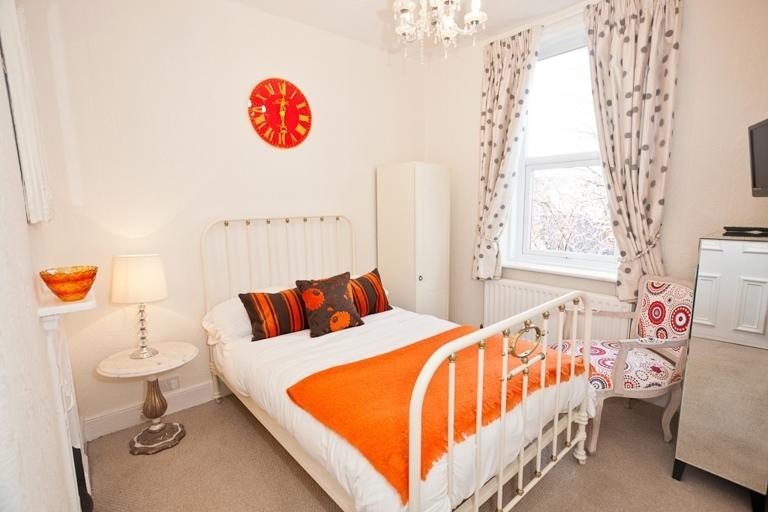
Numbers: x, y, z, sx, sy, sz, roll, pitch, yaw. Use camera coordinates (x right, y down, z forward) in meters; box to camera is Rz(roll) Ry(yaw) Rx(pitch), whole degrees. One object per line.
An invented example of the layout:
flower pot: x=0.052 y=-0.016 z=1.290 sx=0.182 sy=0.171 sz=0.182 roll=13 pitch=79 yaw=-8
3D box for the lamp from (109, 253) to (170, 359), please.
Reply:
lamp: x=-1.767 y=0.355 z=3.578 sx=0.317 sy=0.732 sz=0.401 roll=-12 pitch=13 yaw=-41

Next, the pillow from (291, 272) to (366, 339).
pillow: x=-0.422 y=0.384 z=3.833 sx=0.453 sy=0.449 sz=0.138 roll=-8 pitch=-20 yaw=-39

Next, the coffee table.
coffee table: x=-1.691 y=1.071 z=3.634 sx=0.549 sy=0.622 sz=0.548 roll=-1 pitch=7 yaw=25

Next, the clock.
clock: x=-0.861 y=-1.196 z=4.198 sx=0.538 sy=0.558 sz=0.029 roll=-12 pitch=12 yaw=22

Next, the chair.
chair: x=1.763 y=0.776 z=3.752 sx=0.895 sy=1.215 sz=0.863 roll=-4 pitch=11 yaw=-19

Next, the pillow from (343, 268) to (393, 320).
pillow: x=-0.132 y=0.327 z=4.173 sx=0.105 sy=0.333 sz=0.345 roll=-32 pitch=-15 yaw=39

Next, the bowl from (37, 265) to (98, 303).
bowl: x=-1.885 y=0.180 z=2.946 sx=0.258 sy=0.179 sz=0.258 roll=-4 pitch=4 yaw=0
